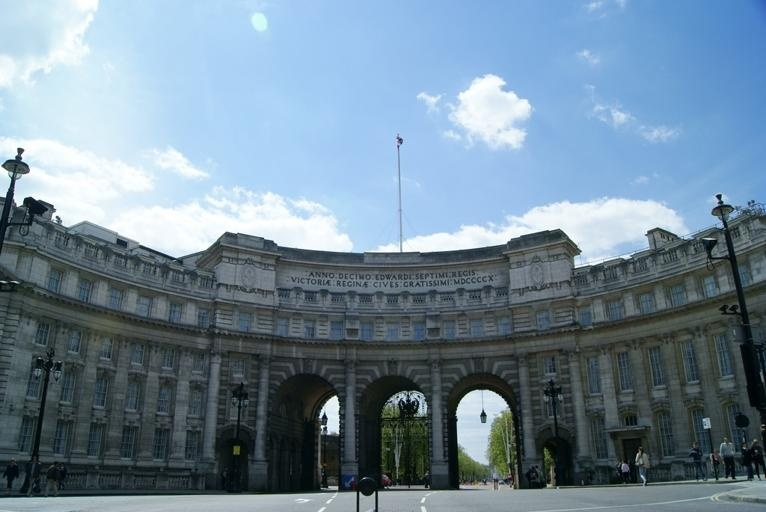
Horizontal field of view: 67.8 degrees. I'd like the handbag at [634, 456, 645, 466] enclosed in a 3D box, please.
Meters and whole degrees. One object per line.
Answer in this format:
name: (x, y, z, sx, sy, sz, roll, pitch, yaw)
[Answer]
handbag: (20.063, 15.853, 44.372, 0.730, 0.881, 0.889, -16, -28, 27)
